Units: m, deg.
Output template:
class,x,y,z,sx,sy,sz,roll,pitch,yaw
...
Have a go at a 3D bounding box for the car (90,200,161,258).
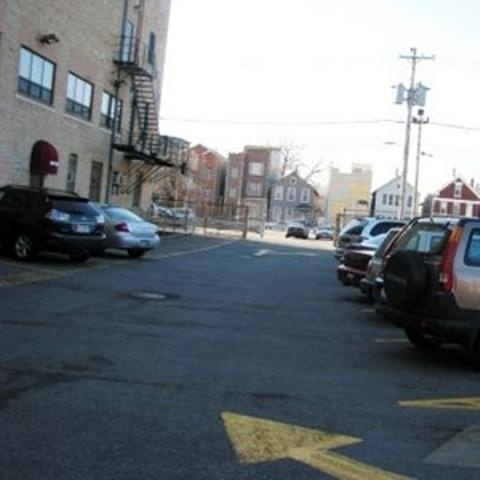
class,x,y,z,sx,sy,sz,roll,pitch,yaw
car,-3.424,-0.241,14.637,1.096,0.844,2.352,-1,9,-33
